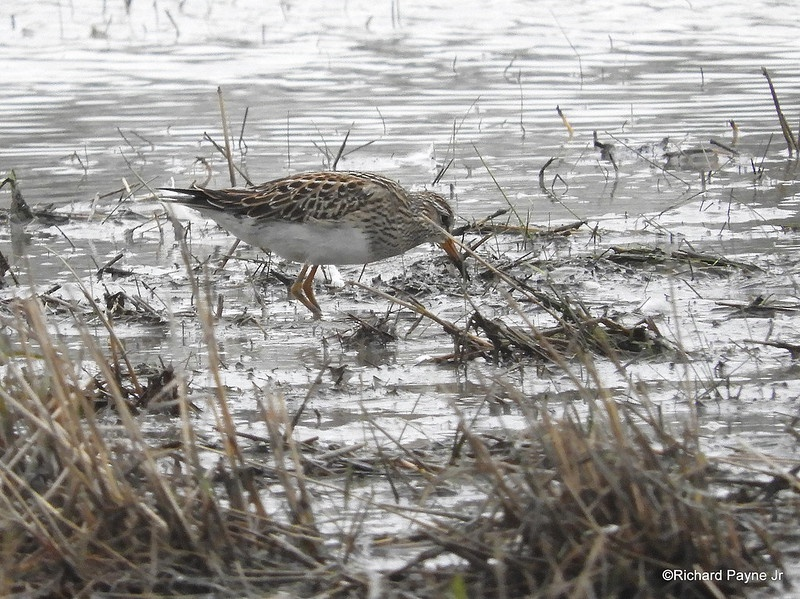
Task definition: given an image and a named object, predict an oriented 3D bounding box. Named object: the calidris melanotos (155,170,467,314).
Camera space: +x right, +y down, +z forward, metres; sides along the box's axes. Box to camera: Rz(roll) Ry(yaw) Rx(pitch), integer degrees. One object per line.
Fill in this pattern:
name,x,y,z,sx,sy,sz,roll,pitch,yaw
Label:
calidris melanotos,-0.505,-0.460,6.349,1.626,0.836,0.766,-14,21,-29
